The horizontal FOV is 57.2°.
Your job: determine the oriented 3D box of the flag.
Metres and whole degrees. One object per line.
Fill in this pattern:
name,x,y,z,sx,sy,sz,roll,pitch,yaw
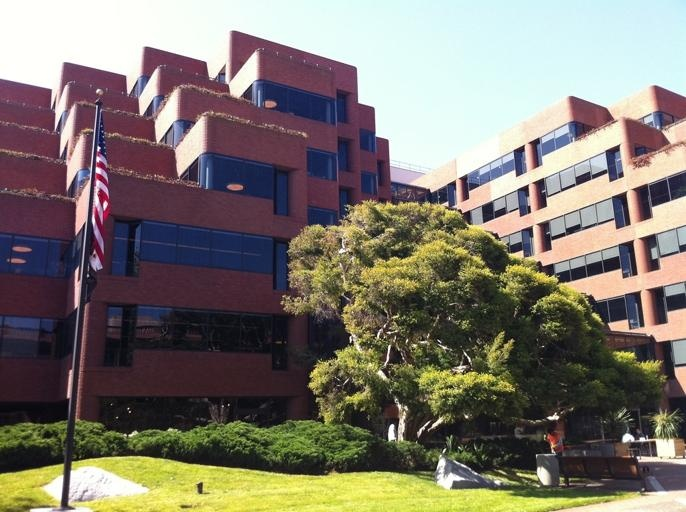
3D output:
flag,-9.585,-2.659,24.798,0.670,6.766,1.835,6,-18,-22

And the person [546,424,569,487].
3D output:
person,11.384,10.496,33.241,0.944,3.030,0.640,3,-23,-24
